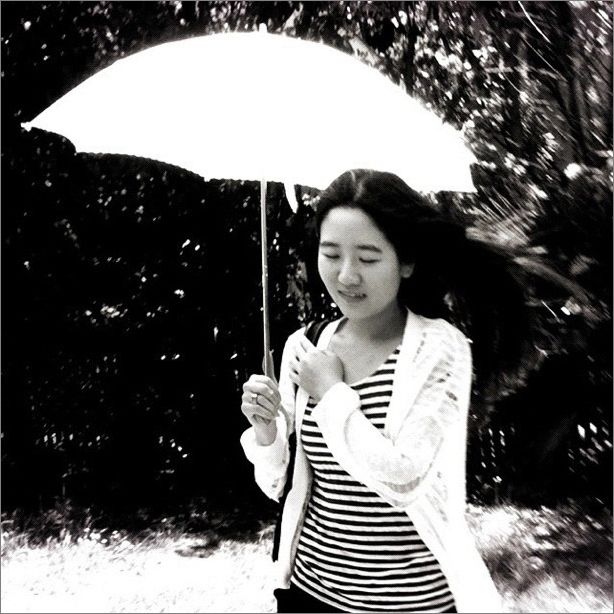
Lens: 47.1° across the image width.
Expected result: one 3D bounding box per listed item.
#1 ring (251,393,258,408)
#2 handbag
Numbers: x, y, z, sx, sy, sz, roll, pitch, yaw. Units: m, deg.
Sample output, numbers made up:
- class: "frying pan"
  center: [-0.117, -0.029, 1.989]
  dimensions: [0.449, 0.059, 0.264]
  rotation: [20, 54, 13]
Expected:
- class: "ring"
  center: [-0.117, 0.208, 1.580]
  dimensions: [0.016, 0.035, 0.020]
  rotation: [-3, 32, -3]
- class: "handbag"
  center: [-0.019, 0.332, 1.766]
  dimensions: [0.205, 0.545, 0.107]
  rotation: [4, 1, -2]
